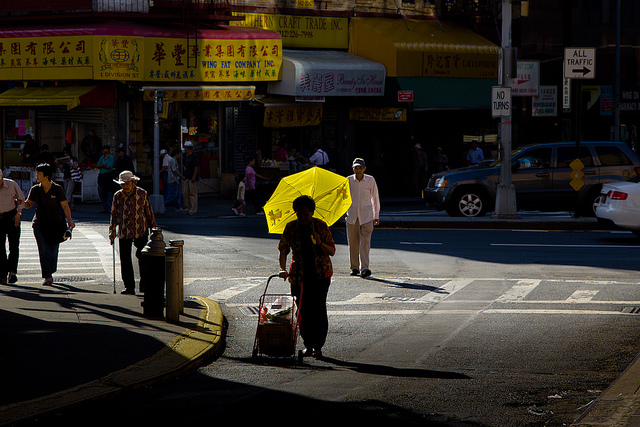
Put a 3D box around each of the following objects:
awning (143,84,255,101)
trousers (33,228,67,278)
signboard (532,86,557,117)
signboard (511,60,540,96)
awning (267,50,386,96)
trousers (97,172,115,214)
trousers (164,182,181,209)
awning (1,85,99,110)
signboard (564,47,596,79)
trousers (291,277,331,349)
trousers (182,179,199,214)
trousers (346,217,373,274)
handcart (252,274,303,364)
[{"bbox_3d":[-4.123,-4.158,33.125,3.803,0.583,0.853,-5,11,-24],"label":"awning"},{"bbox_3d":[-5.312,0.789,18.983,0.568,1.030,0.555,0,-4,-22],"label":"trousers"},{"bbox_3d":[11.143,-5.566,47.769,1.383,1.483,0.755,-6,11,-28],"label":"signboard"},{"bbox_3d":[6.103,-4.065,28.685,1.115,1.027,0.425,1,0,-14],"label":"signboard"},{"bbox_3d":[-0.038,-5.221,36.110,4.406,1.781,3.369,-3,5,-19],"label":"awning"},{"bbox_3d":[-6.738,-0.688,30.236,0.518,1.219,0.519,1,10,4],"label":"trousers"},{"bbox_3d":[-4.843,-0.615,31.558,0.518,0.903,0.495,0,10,-1],"label":"trousers"},{"bbox_3d":[-9.274,-3.944,32.263,3.051,0.634,1.290,4,11,22],"label":"awning"},{"bbox_3d":[7.634,-4.435,28.271,0.888,0.900,0.117,2,2,5],"label":"signboard"},{"bbox_3d":[-0.111,1.572,15.356,0.627,1.087,0.674,0,-3,1],"label":"trousers"},{"bbox_3d":[-4.100,-0.563,30.313,0.427,1.104,0.479,-2,10,-9],"label":"trousers"},{"bbox_3d":[0.829,0.632,19.982,0.514,1.164,0.455,0,10,2],"label":"trousers"},{"bbox_3d":[-0.648,1.677,15.353,1.067,1.372,0.772,-1,0,20],"label":"handcart"}]
